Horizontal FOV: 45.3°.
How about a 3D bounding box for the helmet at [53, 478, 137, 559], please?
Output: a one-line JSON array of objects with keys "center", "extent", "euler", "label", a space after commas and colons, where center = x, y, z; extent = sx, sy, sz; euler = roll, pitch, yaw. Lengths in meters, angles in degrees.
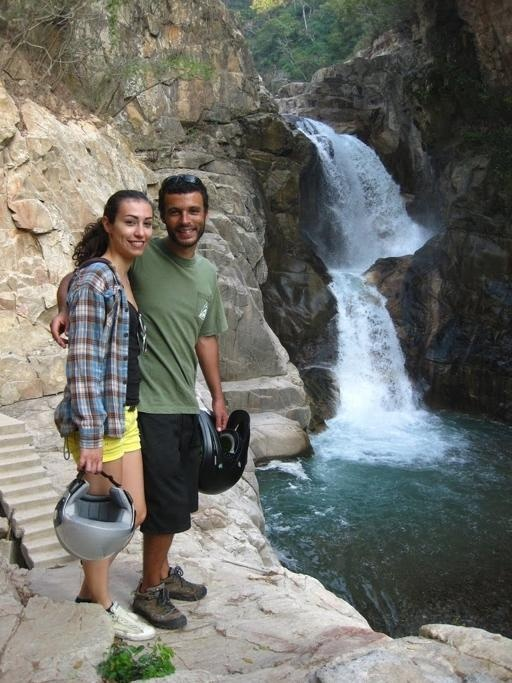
[{"center": [-0.577, 0.675, 2.217], "extent": [0.273, 0.378, 0.225], "euler": [-1, 11, -11], "label": "helmet"}]
